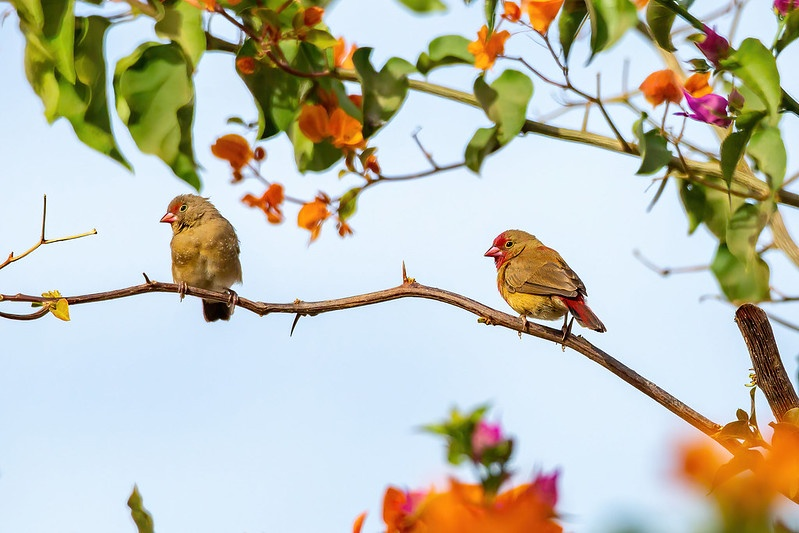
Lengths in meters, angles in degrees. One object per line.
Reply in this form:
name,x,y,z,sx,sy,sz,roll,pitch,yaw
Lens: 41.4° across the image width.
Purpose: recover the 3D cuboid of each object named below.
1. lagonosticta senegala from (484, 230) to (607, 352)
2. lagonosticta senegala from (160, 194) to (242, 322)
lagonosticta senegala,0.635,0.071,4.507,0.293,0.472,0.632,7,-4,-41
lagonosticta senegala,-0.976,-0.053,5.136,0.339,0.571,0.442,-15,-9,25
